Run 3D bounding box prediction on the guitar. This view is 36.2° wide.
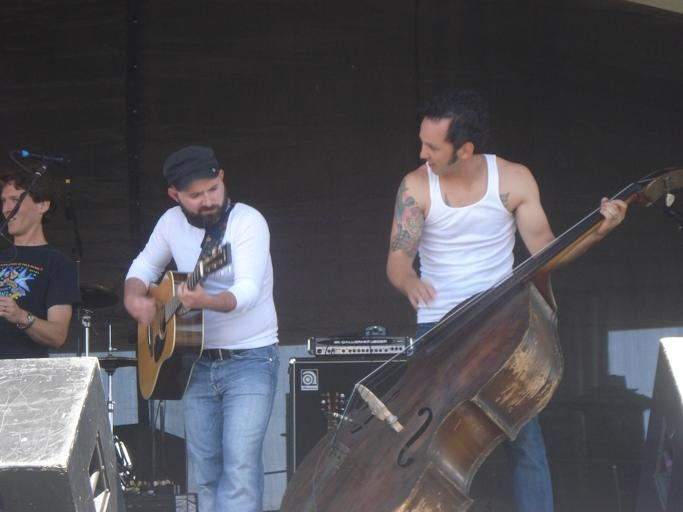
[{"bbox_3d":[-0.939,0.407,5.885,0.155,0.499,0.982,3,-34,-24],"label":"guitar"}]

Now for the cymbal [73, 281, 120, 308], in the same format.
[{"bbox_3d":[-1.599,0.267,6.824,0.181,0.043,0.190,-9,-25,17],"label":"cymbal"}]

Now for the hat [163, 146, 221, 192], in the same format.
[{"bbox_3d":[-0.840,-0.501,5.858,0.284,0.271,0.182,1,-4,22],"label":"hat"}]
